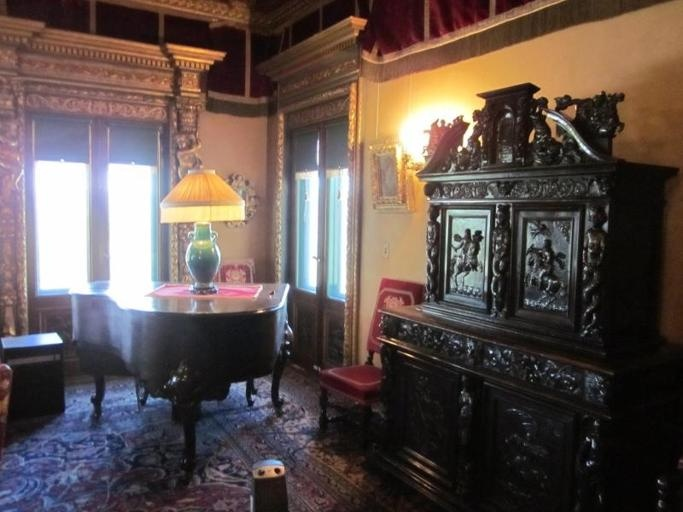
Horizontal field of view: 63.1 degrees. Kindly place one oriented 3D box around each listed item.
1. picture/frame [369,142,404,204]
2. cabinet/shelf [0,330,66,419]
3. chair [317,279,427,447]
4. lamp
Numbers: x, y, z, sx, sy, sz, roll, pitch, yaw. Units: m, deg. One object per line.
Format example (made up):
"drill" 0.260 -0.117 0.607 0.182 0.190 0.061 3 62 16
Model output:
"picture/frame" 0.420 -0.757 5.005 0.092 0.693 0.537 -2 2 -31
"cabinet/shelf" -2.823 1.081 5.129 0.488 0.631 0.551 -6 12 -29
"chair" 0.258 0.873 4.745 0.712 1.345 0.674 2 3 -38
"lamp" -1.208 -0.200 4.852 0.733 1.034 0.748 -1 1 37
